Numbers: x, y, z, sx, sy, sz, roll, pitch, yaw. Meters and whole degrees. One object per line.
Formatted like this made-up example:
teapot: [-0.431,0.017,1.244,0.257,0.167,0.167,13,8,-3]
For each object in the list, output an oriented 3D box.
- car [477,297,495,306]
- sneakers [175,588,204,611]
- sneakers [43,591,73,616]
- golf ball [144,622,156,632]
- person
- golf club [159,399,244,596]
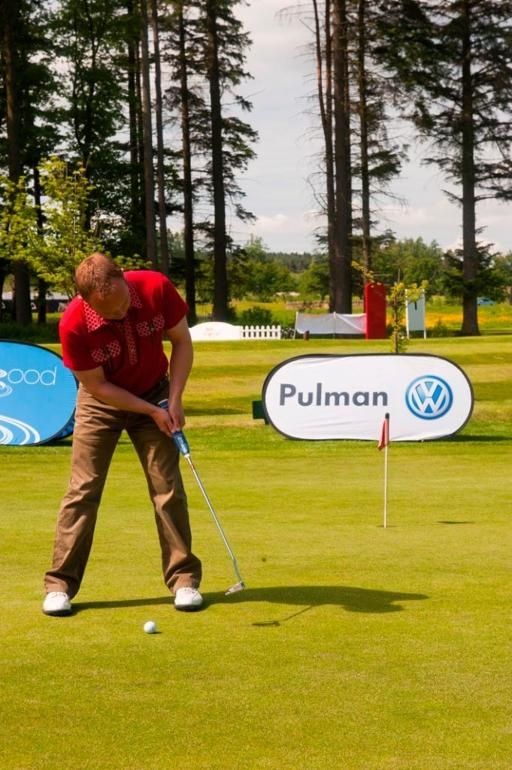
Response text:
car: [18.187,-6.648,96.289,1.057,0.612,7.159,0,5,10]
sneakers: [-0.312,1.004,5.599,0.124,0.096,0.120,-1,5,-3]
sneakers: [-0.899,1.006,5.480,0.124,0.087,0.129,-2,5,-8]
golf ball: [-0.455,1.052,5.196,0.047,0.049,0.092,-1,5,-2]
person: [-0.632,0.219,5.689,0.798,1.657,0.770,-2,5,-15]
golf club: [-0.356,0.775,8.393,0.135,0.971,0.139,-20,9,23]
